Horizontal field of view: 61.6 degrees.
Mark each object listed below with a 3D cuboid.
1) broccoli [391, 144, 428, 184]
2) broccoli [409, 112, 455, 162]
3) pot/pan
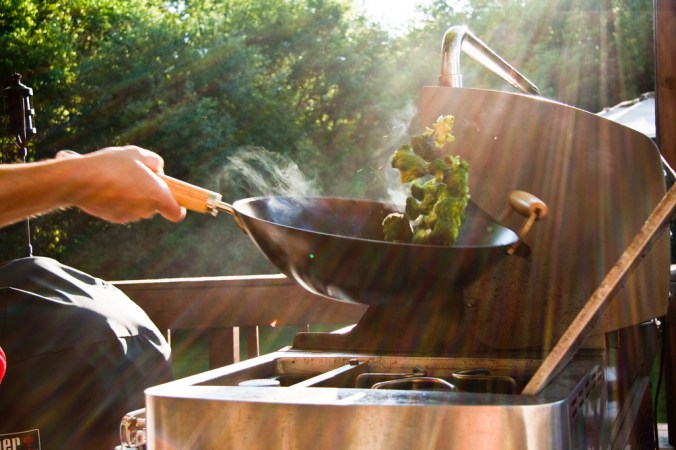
[{"bbox_3d":[0.192,-0.156,1.538,0.026,0.102,0.089,9,-9,34],"label":"broccoli"},{"bbox_3d":[0.267,-0.232,1.600,0.148,0.100,0.036,-45,-2,-25],"label":"broccoli"},{"bbox_3d":[-0.006,-0.175,1.807,1.006,0.553,0.923,2,15,-13],"label":"pot/pan"}]
